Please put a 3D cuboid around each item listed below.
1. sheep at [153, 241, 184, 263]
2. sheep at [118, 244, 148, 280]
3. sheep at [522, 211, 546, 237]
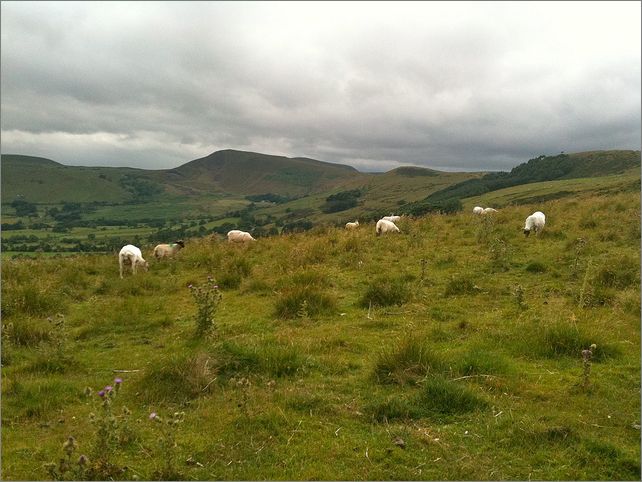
[{"bbox_3d":[-6.212,0.433,21.133,1.551,0.827,0.493,-6,11,-37],"label":"sheep"},{"bbox_3d":[-6.552,0.634,18.108,0.900,0.975,1.347,-4,13,-6],"label":"sheep"},{"bbox_3d":[8.185,-0.627,20.239,1.039,0.713,0.418,-12,16,-35],"label":"sheep"}]
